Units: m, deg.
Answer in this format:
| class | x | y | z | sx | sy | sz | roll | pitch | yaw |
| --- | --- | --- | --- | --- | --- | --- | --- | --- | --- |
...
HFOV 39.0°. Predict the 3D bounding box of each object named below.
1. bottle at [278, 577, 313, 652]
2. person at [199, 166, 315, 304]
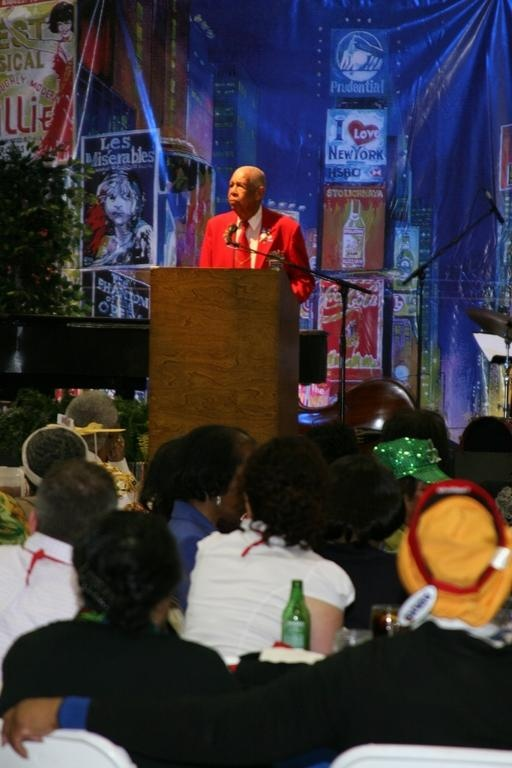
| class | x | y | z | sx | sy | sz | roll | pitch | yaw |
| --- | --- | --- | --- | --- | --- | --- | --- | --- | --- |
| bottle | 0.078 | 0.457 | 1.409 | 0.057 | 0.144 | 0.050 | 2 | 0 | 8 |
| person | -0.046 | -0.621 | 3.573 | 0.609 | 0.801 | 0.427 | 2 | 15 | 0 |
